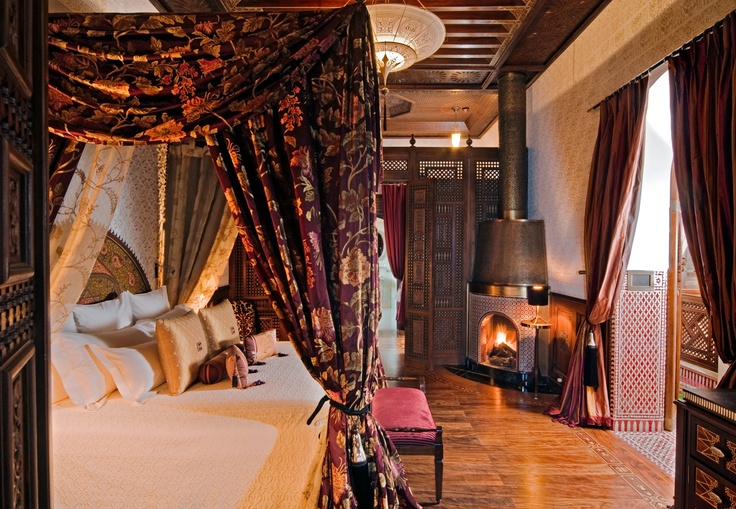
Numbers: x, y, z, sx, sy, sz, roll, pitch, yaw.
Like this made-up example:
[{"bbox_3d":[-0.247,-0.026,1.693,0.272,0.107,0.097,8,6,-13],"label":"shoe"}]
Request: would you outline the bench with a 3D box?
[{"bbox_3d":[0.299,1.426,4.152,0.518,0.643,0.656,-1,8,-1],"label":"bench"}]
